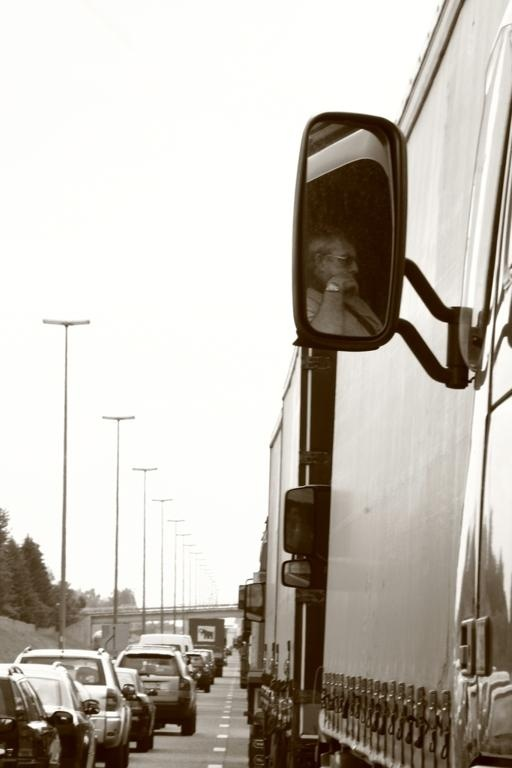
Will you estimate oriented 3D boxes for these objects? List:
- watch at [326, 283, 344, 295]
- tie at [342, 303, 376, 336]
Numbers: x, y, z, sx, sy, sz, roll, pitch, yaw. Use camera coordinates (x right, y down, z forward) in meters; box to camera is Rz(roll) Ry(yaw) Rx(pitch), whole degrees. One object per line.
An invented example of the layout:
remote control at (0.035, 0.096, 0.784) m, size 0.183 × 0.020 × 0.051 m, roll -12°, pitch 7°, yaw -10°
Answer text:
watch at (0.147, -0.184, 2.495) m, size 0.020 × 0.023 × 0.010 m, roll 5°, pitch -2°, yaw 2°
tie at (0.199, -0.125, 2.438) m, size 0.023 × 0.034 × 0.102 m, roll -19°, pitch 29°, yaw 2°
